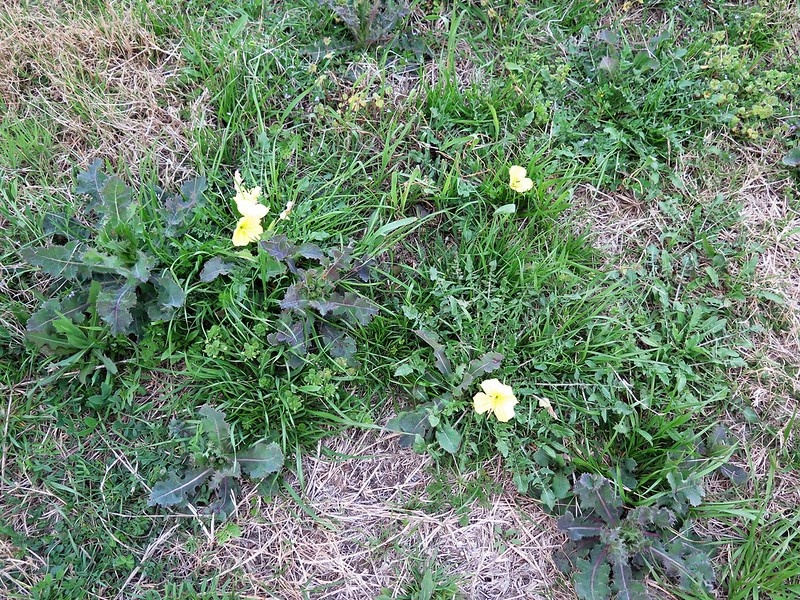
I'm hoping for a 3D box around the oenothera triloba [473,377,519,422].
[{"bbox_3d":[0.533,0.578,3.246,0.272,0.218,0.167,22,53,-3],"label":"oenothera triloba"}]

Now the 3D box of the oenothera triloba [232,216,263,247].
[{"bbox_3d":[-0.849,-0.373,3.273,0.153,0.122,0.144,5,56,-15],"label":"oenothera triloba"}]

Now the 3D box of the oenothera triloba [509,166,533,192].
[{"bbox_3d":[0.725,-0.719,3.550,0.143,0.134,0.147,-5,59,-21],"label":"oenothera triloba"}]
